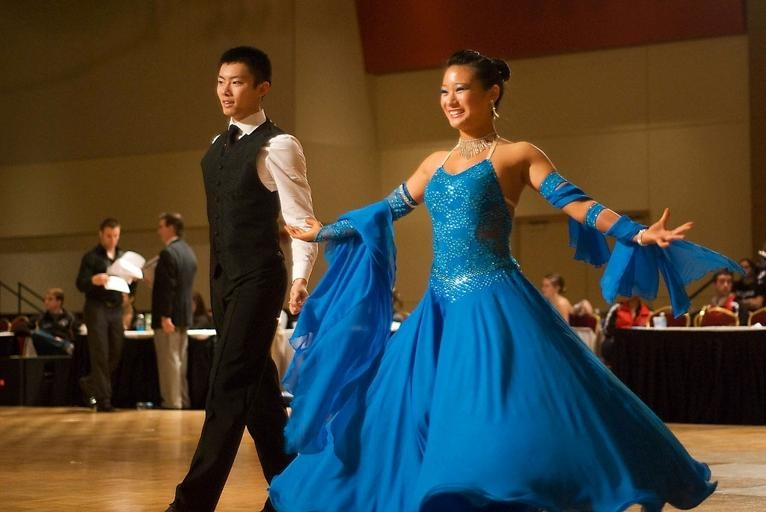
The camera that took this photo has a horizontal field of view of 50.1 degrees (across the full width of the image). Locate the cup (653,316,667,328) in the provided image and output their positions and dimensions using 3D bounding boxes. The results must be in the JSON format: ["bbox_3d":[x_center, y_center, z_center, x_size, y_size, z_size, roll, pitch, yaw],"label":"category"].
[{"bbox_3d":[2.981,0.724,8.878,0.121,0.141,0.134,1,-8,-9],"label":"cup"}]

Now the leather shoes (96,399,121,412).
[{"bbox_3d":[-3.116,1.696,9.287,0.225,0.191,0.110,1,-1,-11],"label":"leather shoes"}]

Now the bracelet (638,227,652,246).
[{"bbox_3d":[1.321,-0.091,4.186,0.056,0.084,0.029,-4,4,-20],"label":"bracelet"}]

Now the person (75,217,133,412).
[{"bbox_3d":[-3.150,0.668,9.125,0.497,2.133,0.568,-2,-4,-6],"label":"person"}]

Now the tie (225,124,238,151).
[{"bbox_3d":[-0.842,-0.651,4.532,0.038,0.176,0.042,12,-5,22],"label":"tie"}]
